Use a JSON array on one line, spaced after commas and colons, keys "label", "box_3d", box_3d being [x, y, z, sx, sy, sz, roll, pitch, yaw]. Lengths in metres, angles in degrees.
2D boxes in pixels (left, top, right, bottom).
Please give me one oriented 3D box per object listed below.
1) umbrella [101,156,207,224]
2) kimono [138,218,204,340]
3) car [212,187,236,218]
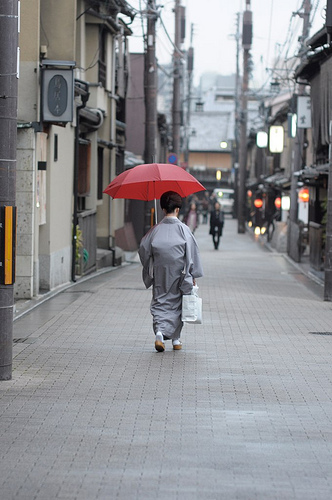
[{"label": "umbrella", "box_3d": [-0.158, -0.681, 8.078, 0.883, 0.933, 0.887, -1, -16, -29]}, {"label": "kimono", "box_3d": [0.052, 0.322, 7.703, 0.702, 1.334, 0.562, 1, 2, -2]}, {"label": "car", "box_3d": [6.027, -5.229, 73.103, 2.043, 2.916, 4.597, 3, 11, -2]}]
